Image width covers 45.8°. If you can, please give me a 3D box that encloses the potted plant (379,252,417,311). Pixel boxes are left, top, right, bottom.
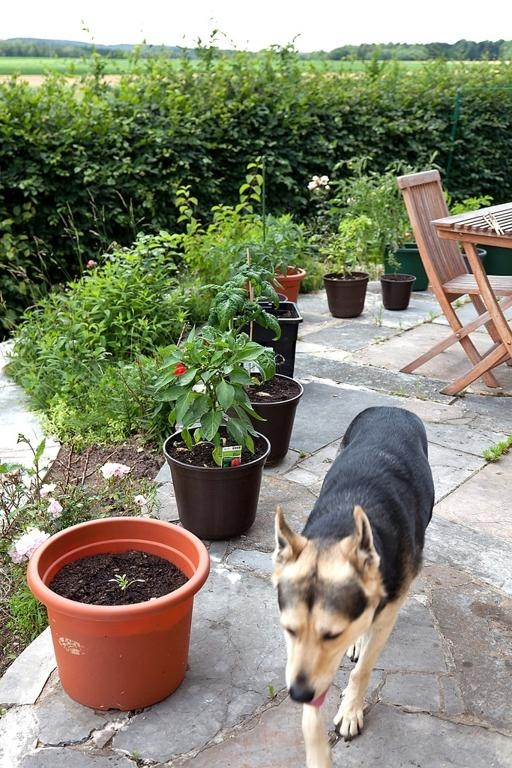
[{"bbox_3d":[1.498,-1.102,6.403,0.370,0.582,0.375,-16,23,-40],"label":"potted plant"}]

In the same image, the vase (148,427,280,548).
[{"bbox_3d":[-0.189,0.444,2.681,0.423,0.332,0.439,0,16,-3],"label":"vase"}]

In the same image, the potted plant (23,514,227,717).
[{"bbox_3d":[-0.413,0.696,1.852,0.548,0.367,0.532,-6,15,-31],"label":"potted plant"}]

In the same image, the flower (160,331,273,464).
[{"bbox_3d":[-0.159,0.044,2.655,0.453,0.556,0.583,1,23,6],"label":"flower"}]

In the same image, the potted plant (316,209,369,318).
[{"bbox_3d":[0.955,-1.183,6.174,0.482,0.960,0.534,4,18,14],"label":"potted plant"}]
